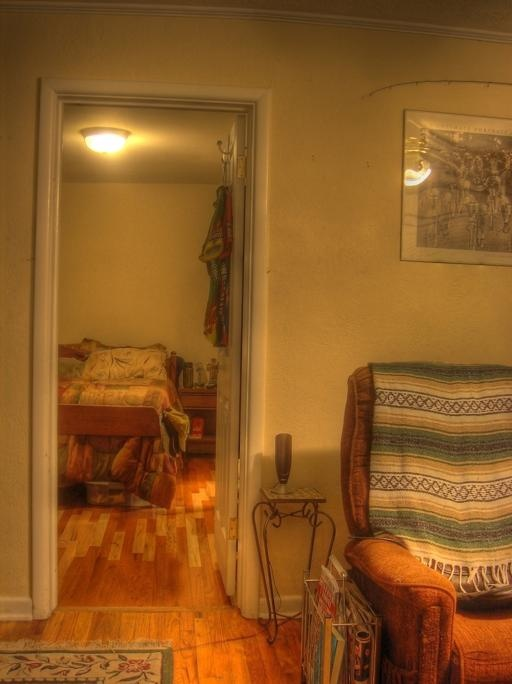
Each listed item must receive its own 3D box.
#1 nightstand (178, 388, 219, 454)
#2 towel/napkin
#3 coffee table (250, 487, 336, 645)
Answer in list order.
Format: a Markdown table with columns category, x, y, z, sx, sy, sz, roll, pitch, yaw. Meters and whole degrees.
| category | x | y | z | sx | sy | sz | roll | pitch | yaw |
| --- | --- | --- | --- | --- | --- | --- | --- | --- | --- |
| nightstand | -0.504 | 0.660 | 5.136 | 0.401 | 0.523 | 0.381 | 2 | 5 | -12 |
| towel/napkin | -0.150 | -0.312 | 2.499 | 0.085 | 0.588 | 0.301 | -1 | 5 | -12 |
| coffee table | 0.103 | 0.775 | 2.187 | 0.303 | 0.506 | 0.345 | 2 | 4 | -11 |
